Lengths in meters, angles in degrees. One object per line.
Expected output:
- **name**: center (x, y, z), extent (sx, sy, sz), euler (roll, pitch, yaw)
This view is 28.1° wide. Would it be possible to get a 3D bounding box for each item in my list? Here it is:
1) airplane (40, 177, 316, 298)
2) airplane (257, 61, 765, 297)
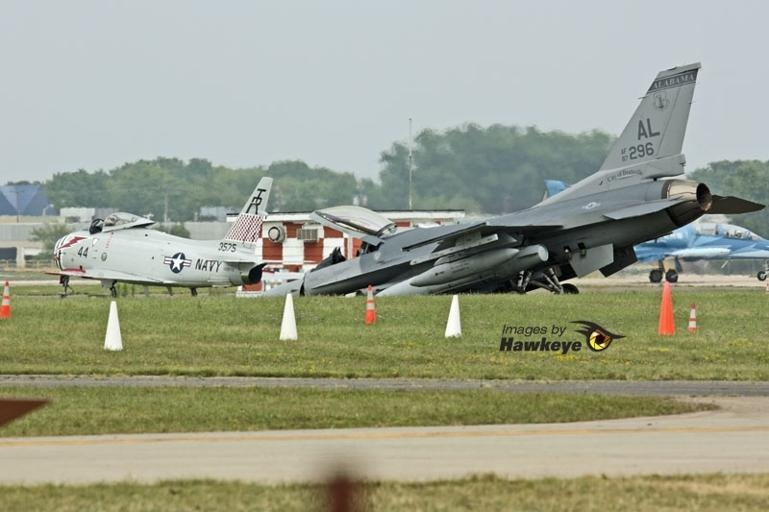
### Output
- **airplane**: center (-8.124, -0.353, 57.995), extent (6.010, 2.497, 5.888), euler (3, 2, 19)
- **airplane**: center (4.381, -0.878, 51.829), extent (12.310, 4.104, 9.110), euler (-6, -3, 23)
